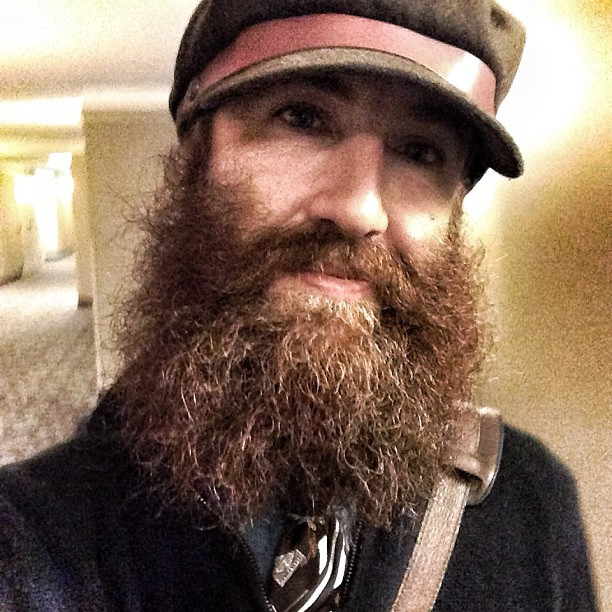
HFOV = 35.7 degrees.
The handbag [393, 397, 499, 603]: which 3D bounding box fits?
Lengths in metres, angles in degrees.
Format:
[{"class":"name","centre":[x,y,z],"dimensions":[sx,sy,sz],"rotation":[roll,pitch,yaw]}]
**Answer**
[{"class":"handbag","centre":[0.265,0.363,1.787],"dimensions":[0.080,0.365,0.242],"rotation":[19,-10,6]}]
